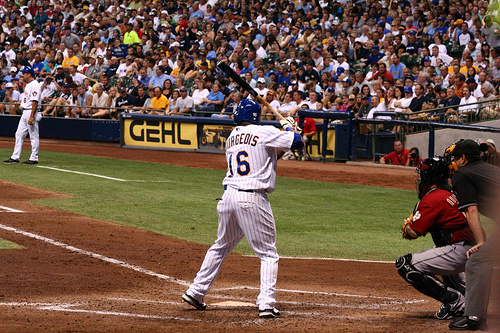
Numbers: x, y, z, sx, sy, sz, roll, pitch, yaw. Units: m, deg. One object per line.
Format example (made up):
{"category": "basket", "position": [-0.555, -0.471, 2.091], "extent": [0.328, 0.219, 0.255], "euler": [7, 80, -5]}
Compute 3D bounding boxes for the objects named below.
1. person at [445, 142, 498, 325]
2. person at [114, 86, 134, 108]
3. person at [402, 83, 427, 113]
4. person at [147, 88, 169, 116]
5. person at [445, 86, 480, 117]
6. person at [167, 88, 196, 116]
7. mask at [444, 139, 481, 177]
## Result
{"category": "person", "position": [3.810, 1.153, 15.197], "extent": [0.548, 3.078, 0.969], "euler": [2, 1, -43]}
{"category": "person", "position": [-4.248, -2.336, 29.956], "extent": [0.632, 0.780, 0.514], "euler": [-16, -25, 23]}
{"category": "person", "position": [4.831, -2.000, 25.860], "extent": [0.642, 0.842, 0.398], "euler": [2, 1, 8]}
{"category": "person", "position": [-3.092, -2.141, 29.053], "extent": [0.719, 0.929, 1.069], "euler": [3, 2, 26]}
{"category": "person", "position": [6.025, -1.862, 24.928], "extent": [0.849, 0.854, 0.825], "euler": [2, 0, 1]}
{"category": "person", "position": [-2.196, -2.088, 28.743], "extent": [1.116, 0.926, 0.973], "euler": [-12, 14, -42]}
{"category": "mask", "position": [3.790, -0.186, 15.622], "extent": [0.700, 0.613, 0.506], "euler": [-8, 0, 32]}
